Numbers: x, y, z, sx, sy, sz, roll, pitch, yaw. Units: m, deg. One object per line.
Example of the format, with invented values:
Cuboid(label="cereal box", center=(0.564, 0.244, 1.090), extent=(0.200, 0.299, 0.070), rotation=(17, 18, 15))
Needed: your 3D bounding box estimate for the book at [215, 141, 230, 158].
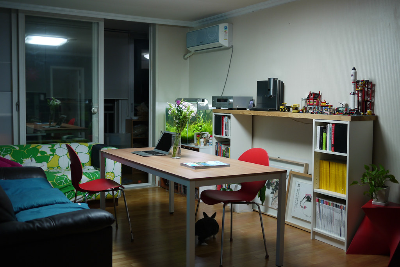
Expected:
Cuboid(label="book", center=(0.393, 0.281, 5.178), extent=(0.318, 0.309, 0.231), rotation=(-1, 3, -40))

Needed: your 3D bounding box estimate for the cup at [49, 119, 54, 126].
Cuboid(label="cup", center=(-2.794, -0.205, 5.484), extent=(0.097, 0.110, 0.099), rotation=(2, -6, 0))

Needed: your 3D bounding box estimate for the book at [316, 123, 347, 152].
Cuboid(label="book", center=(1.677, 0.047, 3.695), extent=(0.197, 0.352, 0.372), rotation=(1, 0, -32))

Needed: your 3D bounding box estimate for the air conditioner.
Cuboid(label="air conditioner", center=(0.165, -1.868, 5.774), extent=(0.329, 0.429, 1.042), rotation=(-12, 14, -38))

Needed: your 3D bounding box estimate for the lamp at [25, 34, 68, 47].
Cuboid(label="lamp", center=(-2.832, -1.700, 5.402), extent=(0.695, 0.179, 0.046), rotation=(-3, 9, -26))

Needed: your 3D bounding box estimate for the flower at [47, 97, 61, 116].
Cuboid(label="flower", center=(-2.740, -0.517, 5.485), extent=(0.252, 0.318, 0.275), rotation=(5, -1, -18))

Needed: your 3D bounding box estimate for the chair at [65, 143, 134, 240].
Cuboid(label="chair", center=(-1.324, 0.812, 3.998), extent=(0.823, 1.219, 0.796), rotation=(0, -11, -32))

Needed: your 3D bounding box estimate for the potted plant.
Cuboid(label="potted plant", center=(2.114, 0.582, 3.639), extent=(0.512, 0.386, 0.492), rotation=(1, -2, -34))

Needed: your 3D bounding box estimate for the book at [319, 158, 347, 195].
Cuboid(label="book", center=(1.734, 0.527, 3.847), extent=(0.325, 0.445, 0.467), rotation=(-2, -3, 38))

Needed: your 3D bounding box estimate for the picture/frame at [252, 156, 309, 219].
Cuboid(label="picture/frame", center=(1.145, 0.742, 4.053), extent=(0.098, 0.850, 0.970), rotation=(9, -1, -34))
